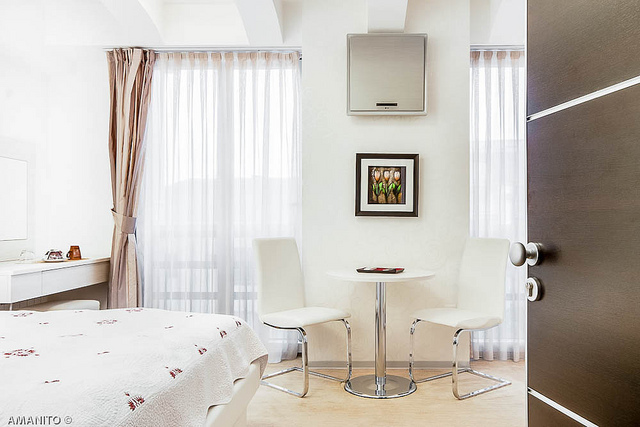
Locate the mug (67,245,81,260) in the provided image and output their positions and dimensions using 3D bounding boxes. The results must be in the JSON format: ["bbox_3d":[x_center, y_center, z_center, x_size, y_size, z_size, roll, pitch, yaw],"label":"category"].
[{"bbox_3d":[-2.200,0.348,4.281,0.109,0.173,0.134,-4,-5,42],"label":"mug"}]

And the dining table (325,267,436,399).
[{"bbox_3d":[0.492,0.963,3.839,0.833,0.902,0.853,0,-4,13],"label":"dining table"}]

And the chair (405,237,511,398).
[{"bbox_3d":[1.166,0.805,3.828,0.733,1.117,0.786,5,-2,19],"label":"chair"}]

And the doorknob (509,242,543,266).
[{"bbox_3d":[0.895,0.175,2.055,0.106,0.114,0.113,3,-5,-13],"label":"doorknob"}]

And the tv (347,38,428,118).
[{"bbox_3d":[0.581,-1.200,4.146,0.716,0.713,0.070,-1,2,-2],"label":"tv"}]
